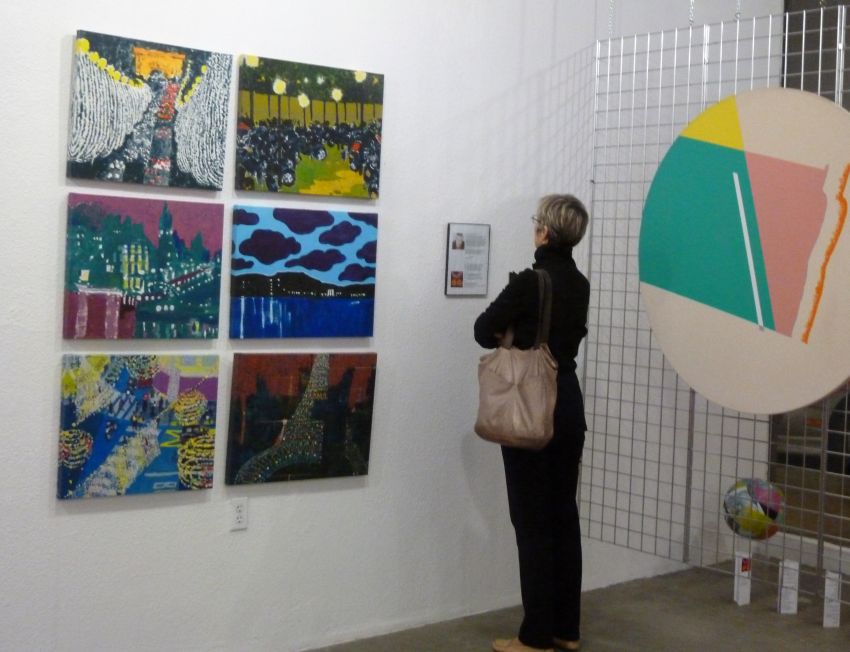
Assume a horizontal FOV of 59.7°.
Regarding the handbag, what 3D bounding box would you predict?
[{"bbox_3d":[0.388,0.293,3.045,0.345,0.539,0.211,1,-5,21],"label":"handbag"}]
